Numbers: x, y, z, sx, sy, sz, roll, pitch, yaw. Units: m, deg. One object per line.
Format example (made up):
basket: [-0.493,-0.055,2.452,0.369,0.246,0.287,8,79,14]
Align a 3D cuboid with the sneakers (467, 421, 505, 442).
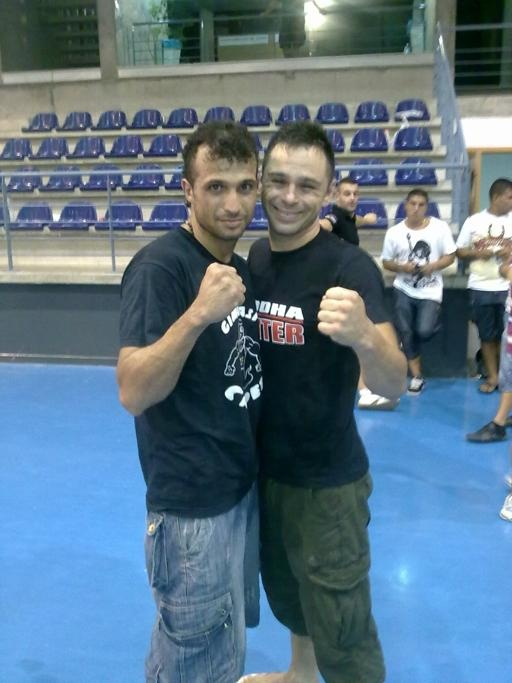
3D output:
sneakers: [1.419,0.561,4.861,0.247,0.128,0.098,-3,7,1]
